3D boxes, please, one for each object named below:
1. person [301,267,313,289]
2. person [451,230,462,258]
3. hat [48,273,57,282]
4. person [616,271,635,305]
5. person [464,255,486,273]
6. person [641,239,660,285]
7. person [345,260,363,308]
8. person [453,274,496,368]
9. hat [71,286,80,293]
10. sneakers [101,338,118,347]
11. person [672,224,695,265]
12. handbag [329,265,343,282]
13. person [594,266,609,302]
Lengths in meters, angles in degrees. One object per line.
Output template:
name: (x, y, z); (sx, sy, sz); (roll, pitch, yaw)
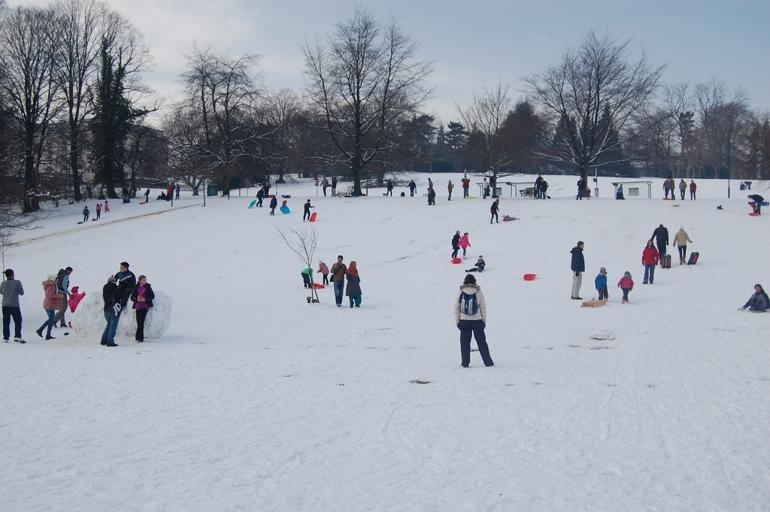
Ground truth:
person: (-3.421, 0.963, 37.888); (0.359, 1.145, 1.830); (-6, 15, -9)
person: (3.465, -0.565, 41.757); (0.519, 1.282, 1.315); (-3, 14, 4)
hat: (-12.477, 0.786, 32.104); (0.237, 0.281, 0.292); (-3, -1, -31)
person: (9.522, 0.992, 33.898); (0.542, 1.332, 2.373); (1, 15, 16)
person: (4.151, 0.383, 39.528); (0.935, 0.970, 0.682); (3, 3, 12)
person: (11.038, 0.224, 35.637); (0.571, 1.723, 1.001); (1, 15, 17)
person: (-1.305, 1.083, 34.830); (0.578, 1.925, 0.804); (-5, 14, -4)
person: (2.721, 1.952, 26.496); (1.061, 2.995, 0.742); (-3, 14, 4)
hat: (-12.267, 1.324, 33.917); (0.324, 0.257, 0.330); (11, -4, 41)
sneakers: (-9.178, 2.891, 28.690); (0.668, 0.292, 0.211); (1, 3, 19)
person: (13.450, -0.572, 38.762); (0.642, 1.791, 1.537); (2, 15, 19)
handbag: (-1.979, 0.728, 34.938); (0.759, 0.876, 0.481); (1, -4, 0)
person: (8.543, 1.045, 33.756); (0.462, 1.436, 2.307); (0, 15, 14)
